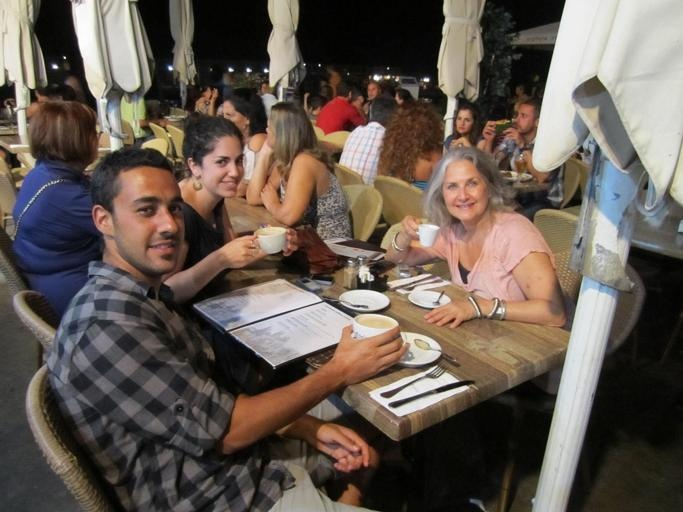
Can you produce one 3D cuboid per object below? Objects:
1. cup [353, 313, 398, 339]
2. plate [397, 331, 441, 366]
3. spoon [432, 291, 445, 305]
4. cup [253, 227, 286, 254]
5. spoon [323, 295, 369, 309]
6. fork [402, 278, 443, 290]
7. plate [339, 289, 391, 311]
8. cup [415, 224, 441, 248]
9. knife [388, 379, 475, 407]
[{"bbox_3d":[0.119,0.246,1.592,0.114,0.083,0.090,-1,15,-3],"label":"cup"},{"bbox_3d":[0.292,0.320,1.624,0.148,0.085,0.186,2,24,8],"label":"plate"},{"bbox_3d":[0.433,0.186,2.005,0.026,0.018,0.118,4,16,24],"label":"spoon"},{"bbox_3d":[-0.332,-0.073,2.067,0.133,0.092,0.113,-4,6,-38],"label":"cup"},{"bbox_3d":[0.024,0.202,1.947,0.129,0.019,0.020,13,22,21],"label":"spoon"},{"bbox_3d":[0.390,0.144,2.158,0.241,0.033,0.071,-6,22,-40],"label":"fork"},{"bbox_3d":[0.091,0.196,1.949,0.119,0.018,0.119,-9,25,-21],"label":"plate"},{"bbox_3d":[0.406,-0.100,2.090,0.087,0.085,0.104,-2,26,-7],"label":"cup"},{"bbox_3d":[0.295,0.439,1.433,0.314,0.017,0.031,-10,25,-19],"label":"knife"}]
